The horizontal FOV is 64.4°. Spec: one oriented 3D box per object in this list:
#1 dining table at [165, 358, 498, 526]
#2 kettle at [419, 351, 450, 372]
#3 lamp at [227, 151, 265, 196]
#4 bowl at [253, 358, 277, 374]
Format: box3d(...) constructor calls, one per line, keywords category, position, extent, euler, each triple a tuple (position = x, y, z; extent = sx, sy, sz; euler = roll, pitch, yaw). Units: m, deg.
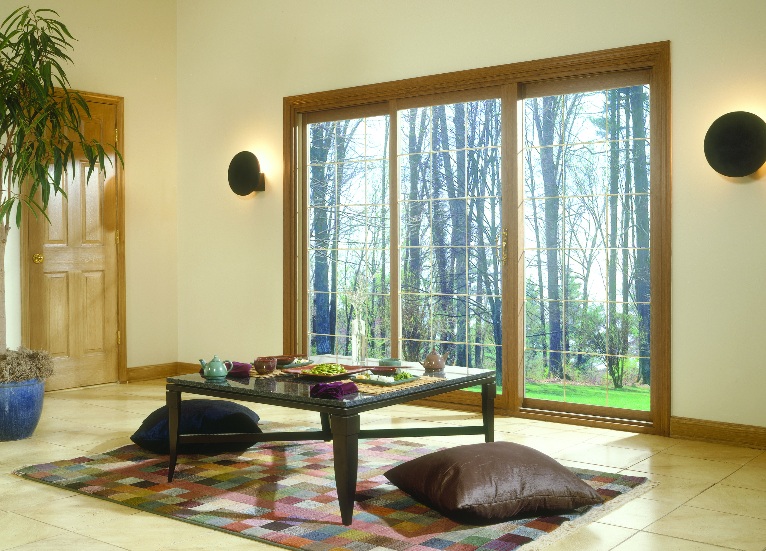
box3d(category="dining table", position=(-0.073, 0.783, 3.482), extent=(1.086, 0.394, 1.096), euler=(-1, -2, 39))
box3d(category="kettle", position=(0.343, 0.546, 3.867), extent=(0.163, 0.116, 0.149), euler=(6, -5, -33))
box3d(category="lamp", position=(-1.417, -1.048, 6.286), extent=(0.393, 0.459, 0.137), euler=(1, 2, 34))
box3d(category="bowl", position=(-0.729, 0.560, 3.758), extent=(0.124, 0.064, 0.108), euler=(-2, -4, 15))
